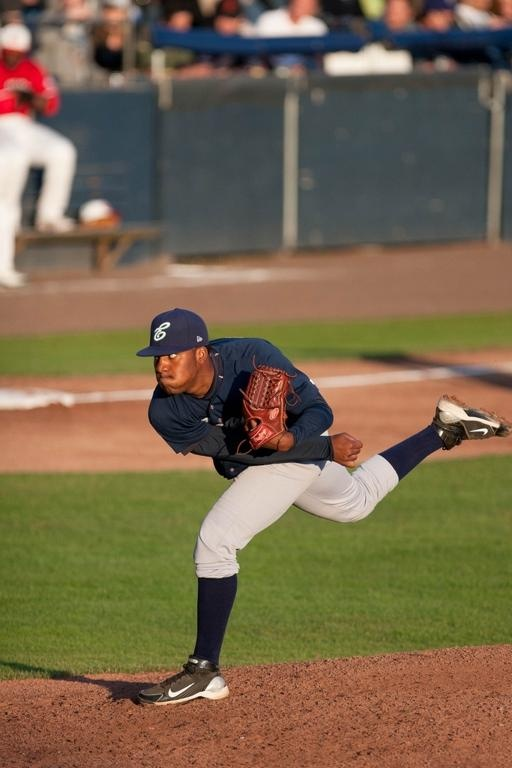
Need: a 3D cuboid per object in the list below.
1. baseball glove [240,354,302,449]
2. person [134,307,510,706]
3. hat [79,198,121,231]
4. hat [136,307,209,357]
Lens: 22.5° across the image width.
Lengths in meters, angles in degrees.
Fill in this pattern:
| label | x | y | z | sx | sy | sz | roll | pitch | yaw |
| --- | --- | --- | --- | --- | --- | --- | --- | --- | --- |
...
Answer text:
| label | x | y | z | sx | sy | sz | roll | pitch | yaw |
| --- | --- | --- | --- | --- | --- | --- | --- | --- | --- |
| baseball glove | 0.047 | 0.057 | 4.506 | 0.198 | 0.276 | 0.089 | 10 | -18 | -9 |
| person | 0.131 | 0.365 | 5.166 | 0.620 | 1.467 | 1.620 | 12 | 20 | 31 |
| hat | -1.223 | -1.318 | 10.048 | 0.248 | 0.166 | 0.313 | -3 | 8 | 1 |
| hat | -0.294 | -0.193 | 4.640 | 0.227 | 0.148 | 0.306 | -5 | 13 | 22 |
